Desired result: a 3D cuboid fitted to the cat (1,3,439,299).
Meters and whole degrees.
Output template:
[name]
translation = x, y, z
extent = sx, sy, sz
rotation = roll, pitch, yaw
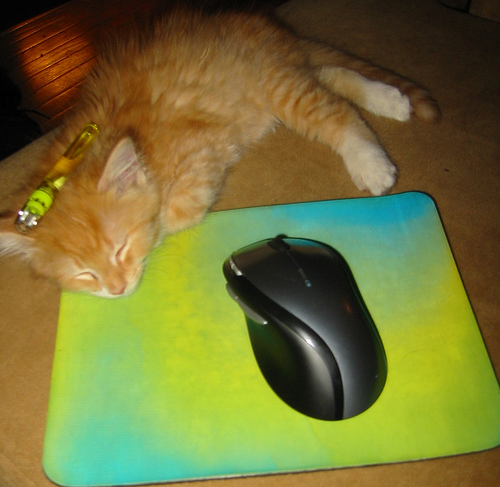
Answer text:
[cat]
translation = -0.064, -0.165, 1.054
extent = 0.529, 0.274, 0.690
rotation = 32, 76, 14
